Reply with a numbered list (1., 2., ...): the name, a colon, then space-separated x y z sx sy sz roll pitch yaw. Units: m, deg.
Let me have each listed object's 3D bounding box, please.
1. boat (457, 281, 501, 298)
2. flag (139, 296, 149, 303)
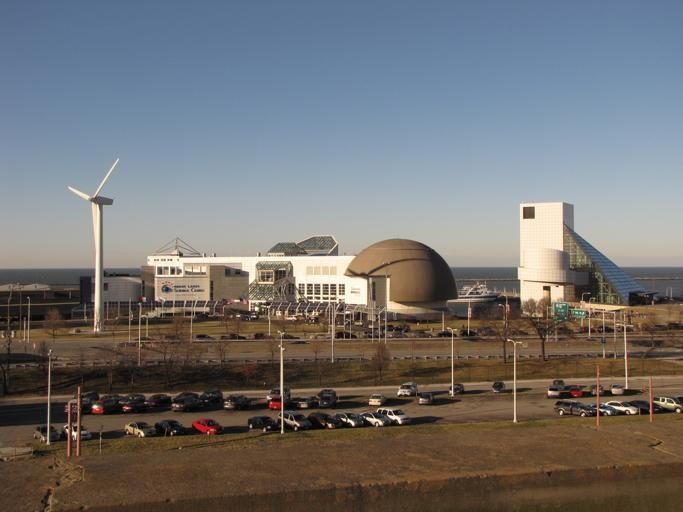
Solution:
1. boat: 31.529 7.779 208.532 3.984 3.087 10.220 -1 -3 -23
2. flag: -29.434 6.441 133.574 1.589 0.784 0.788 0 7 -6
